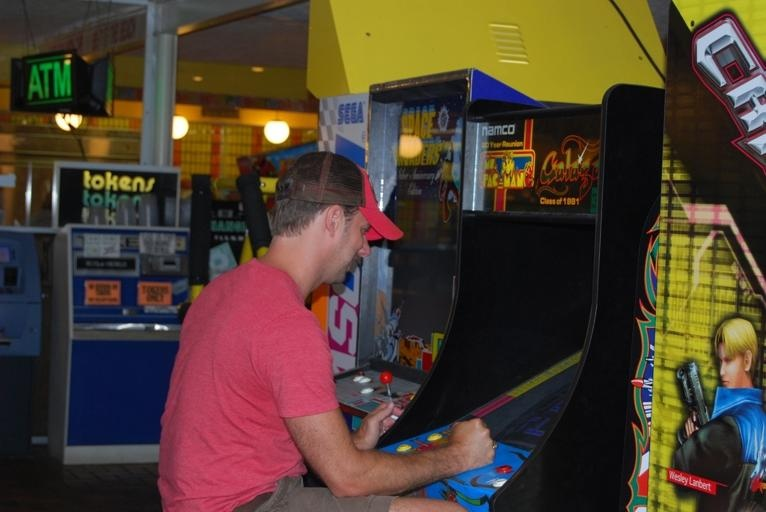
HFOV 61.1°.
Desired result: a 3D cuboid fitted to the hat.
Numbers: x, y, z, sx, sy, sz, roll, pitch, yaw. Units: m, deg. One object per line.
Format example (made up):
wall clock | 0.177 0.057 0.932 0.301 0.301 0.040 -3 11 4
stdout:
hat | -0.140 -0.223 2.302 0.476 0.268 0.328 11 -2 -4
